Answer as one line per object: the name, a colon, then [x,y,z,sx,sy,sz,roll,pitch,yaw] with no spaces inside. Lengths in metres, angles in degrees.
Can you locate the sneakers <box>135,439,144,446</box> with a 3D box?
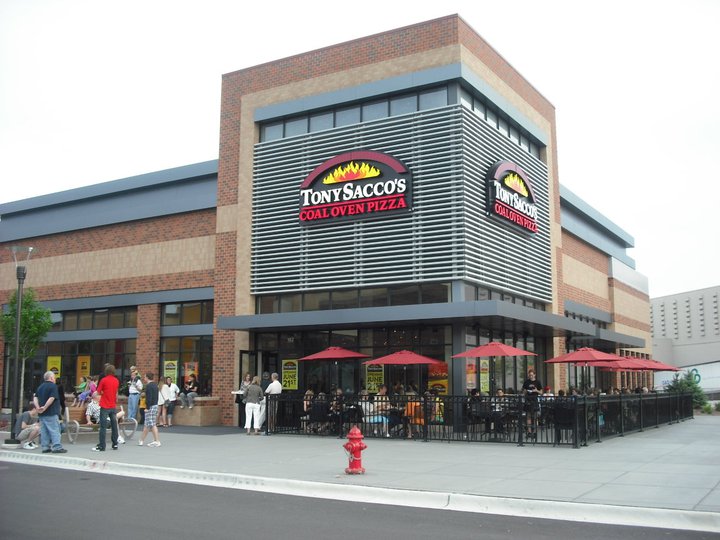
sneakers: [-6.691,5.255,21.485,0.186,0.220,0.508,3,-8,-14]

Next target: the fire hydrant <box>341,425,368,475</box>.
fire hydrant: [-0.122,4.125,16.057,0.441,1.026,1.144,1,-16,-1]

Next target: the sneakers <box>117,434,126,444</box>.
sneakers: [-7.438,5.275,21.966,0.223,0.277,0.654,4,-14,-30]

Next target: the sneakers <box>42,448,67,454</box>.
sneakers: [-8.388,4.950,19.379,0.644,0.276,0.239,-8,-13,25]

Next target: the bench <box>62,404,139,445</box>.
bench: [-8.368,4.980,22.586,0.686,0.930,1.847,-20,-22,36]
